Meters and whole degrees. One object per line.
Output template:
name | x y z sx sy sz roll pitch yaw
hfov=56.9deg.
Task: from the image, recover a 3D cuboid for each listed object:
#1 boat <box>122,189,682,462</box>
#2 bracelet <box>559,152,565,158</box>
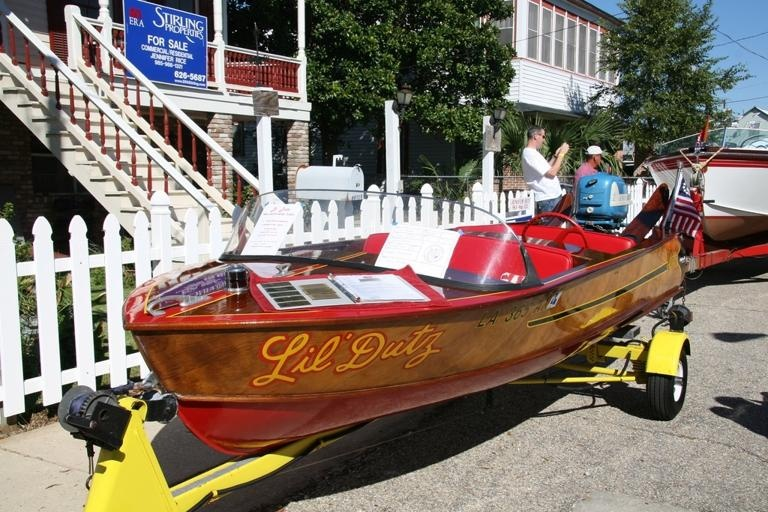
boat | -0.112 0.360 5.457 5.244 1.522 1.852 -4 9 -36
bracelet | 2.413 -1.413 9.640 0.088 0.100 0.036 9 6 23
